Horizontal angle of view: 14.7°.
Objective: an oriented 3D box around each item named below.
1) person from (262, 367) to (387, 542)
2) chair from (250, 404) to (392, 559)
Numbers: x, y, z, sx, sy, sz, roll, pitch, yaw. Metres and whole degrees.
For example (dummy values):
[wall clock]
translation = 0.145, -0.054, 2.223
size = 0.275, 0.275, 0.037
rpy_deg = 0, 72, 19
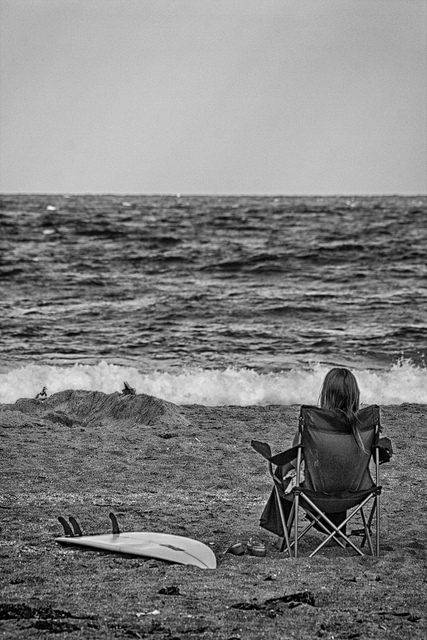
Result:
[person]
translation = 0.777, 0.915, 12.313
size = 0.840, 1.790, 1.042
rpy_deg = 1, 6, -10
[chair]
translation = 0.818, 1.197, 12.165
size = 0.988, 1.269, 0.787
rpy_deg = 0, 3, -13
